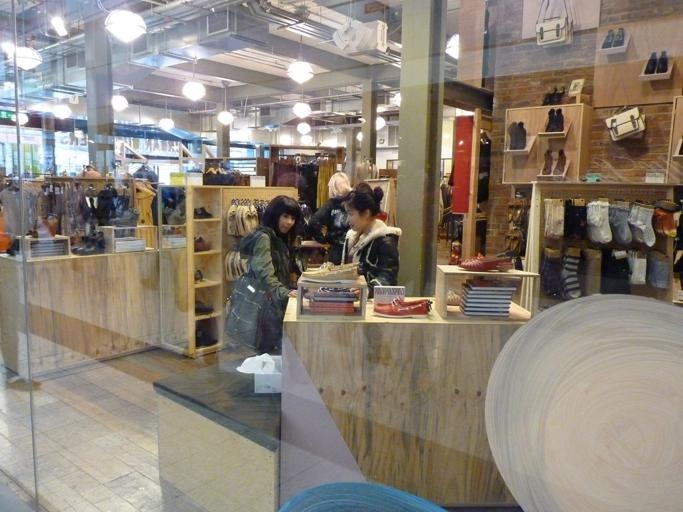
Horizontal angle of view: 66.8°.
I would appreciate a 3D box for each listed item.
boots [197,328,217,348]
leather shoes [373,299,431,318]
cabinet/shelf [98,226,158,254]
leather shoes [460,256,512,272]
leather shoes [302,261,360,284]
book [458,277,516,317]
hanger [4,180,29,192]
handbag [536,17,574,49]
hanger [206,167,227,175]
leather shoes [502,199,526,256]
[{"bbox_3d":[-0.792,0.487,3.015,0.074,0.084,0.210,-4,-2,-31],"label":"boots"},{"bbox_3d":[0.252,0.205,2.180,0.233,0.086,0.091,2,0,2],"label":"leather shoes"},{"bbox_3d":[-1.425,-0.117,3.509,0.102,0.195,0.407,5,10,34],"label":"cabinet/shelf"},{"bbox_3d":[0.537,0.023,1.922,0.151,0.053,0.062,1,2,10],"label":"leather shoes"},{"bbox_3d":[-0.051,0.073,2.158,0.161,0.061,0.110,1,1,4],"label":"leather shoes"},{"bbox_3d":[0.559,0.166,2.015,0.149,0.108,0.160,2,7,-2],"label":"book"},{"bbox_3d":[-2.049,-0.439,3.245,0.124,0.065,0.129,3,1,1],"label":"hanger"},{"bbox_3d":[0.699,-0.742,1.716,0.120,0.114,0.077,13,23,39],"label":"handbag"},{"bbox_3d":[-0.880,-0.598,3.637,0.064,0.037,0.088,-2,-6,15],"label":"hanger"},{"bbox_3d":[0.614,-0.101,1.823,0.078,0.204,0.055,0,7,4],"label":"leather shoes"}]
